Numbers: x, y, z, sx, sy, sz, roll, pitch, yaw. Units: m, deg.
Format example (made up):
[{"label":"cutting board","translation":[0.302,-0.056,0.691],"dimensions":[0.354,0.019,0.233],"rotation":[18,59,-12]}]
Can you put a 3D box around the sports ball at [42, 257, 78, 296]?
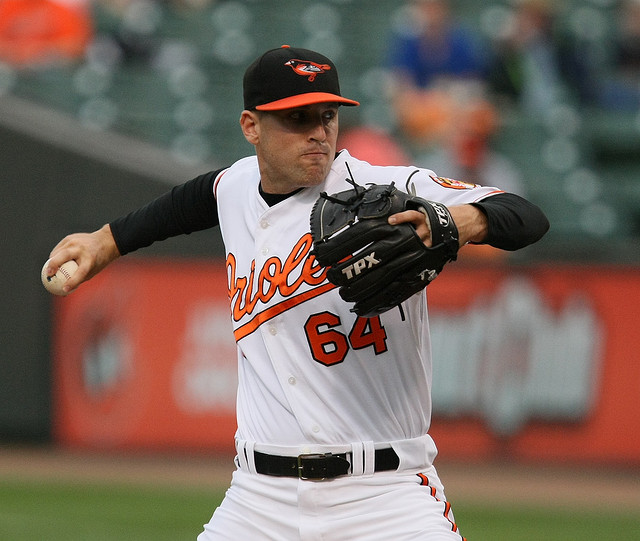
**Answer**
[{"label":"sports ball","translation":[-1.116,0.034,4.412],"dimensions":[0.159,0.155,0.102],"rotation":[37,61,16]}]

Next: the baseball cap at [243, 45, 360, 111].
[{"label":"baseball cap","translation":[-0.076,-0.813,4.286],"dimensions":[0.429,0.274,0.510],"rotation":[-7,15,-17]}]

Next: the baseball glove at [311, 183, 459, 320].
[{"label":"baseball glove","translation":[0.242,-0.074,3.803],"dimensions":[0.540,0.491,0.175],"rotation":[0,5,1]}]

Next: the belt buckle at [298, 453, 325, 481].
[{"label":"belt buckle","translation":[-0.036,0.762,3.968],"dimensions":[0.093,0.108,0.026],"rotation":[0,5,0]}]

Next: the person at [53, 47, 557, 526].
[{"label":"person","translation":[-0.009,0.060,4.171],"dimensions":[1.624,1.949,0.710],"rotation":[4,6,39]}]
